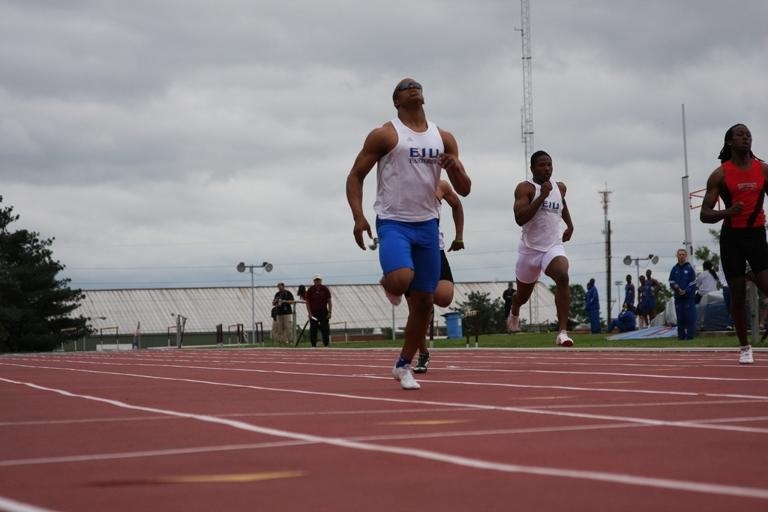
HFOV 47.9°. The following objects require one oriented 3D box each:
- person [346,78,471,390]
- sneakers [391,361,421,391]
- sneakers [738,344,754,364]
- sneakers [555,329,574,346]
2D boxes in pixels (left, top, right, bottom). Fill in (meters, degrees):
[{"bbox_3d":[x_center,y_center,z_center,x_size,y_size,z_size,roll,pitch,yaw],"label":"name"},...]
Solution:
[{"bbox_3d":[0.195,-0.222,6.851,0.965,2.507,0.781,0,-4,3],"label":"person"},{"bbox_3d":[0.189,0.959,6.886,0.113,0.126,0.293,-4,7,-28],"label":"sneakers"},{"bbox_3d":[3.647,0.989,8.763,0.139,0.181,0.409,-3,-7,13],"label":"sneakers"},{"bbox_3d":[2.195,0.986,10.414,0.161,0.198,0.439,-4,-11,-4],"label":"sneakers"}]
